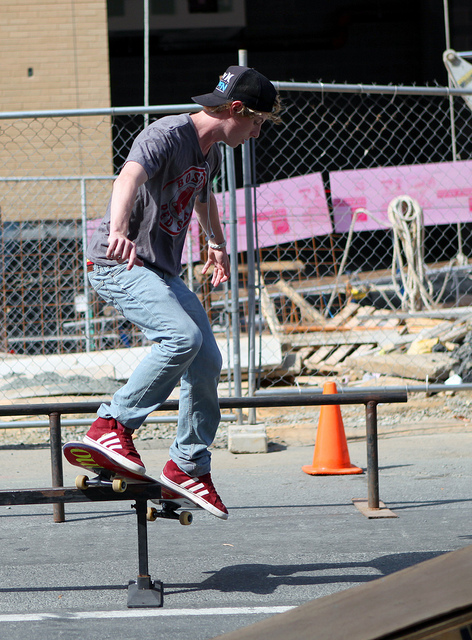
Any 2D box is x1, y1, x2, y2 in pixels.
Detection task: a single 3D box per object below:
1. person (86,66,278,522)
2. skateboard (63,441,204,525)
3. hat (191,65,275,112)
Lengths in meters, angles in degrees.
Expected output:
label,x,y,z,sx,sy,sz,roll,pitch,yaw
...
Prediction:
label,x,y,z,sx,sy,sz,roll,pitch,yaw
person,-0.340,-0.141,6.975,0.780,2.457,1.364,6,18,32
skateboard,-0.621,0.866,6.799,1.086,0.175,0.331,28,-29,-31
hat,-0.007,-1.278,6.922,0.452,0.254,0.202,-3,14,-1
